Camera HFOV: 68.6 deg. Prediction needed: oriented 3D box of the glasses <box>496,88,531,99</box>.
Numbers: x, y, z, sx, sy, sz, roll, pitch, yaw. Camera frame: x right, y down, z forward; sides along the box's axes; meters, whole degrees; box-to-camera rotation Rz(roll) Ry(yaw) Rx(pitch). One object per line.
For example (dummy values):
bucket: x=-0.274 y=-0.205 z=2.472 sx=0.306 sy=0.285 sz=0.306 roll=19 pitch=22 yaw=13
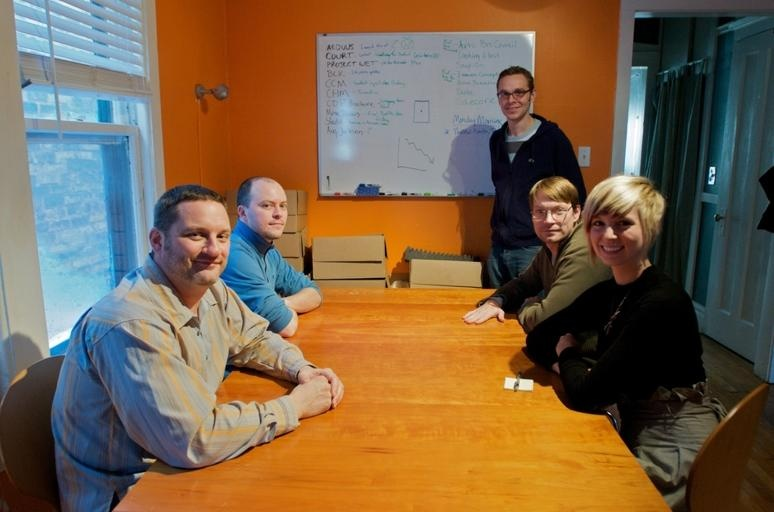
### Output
glasses: x=0.949 y=-1.197 z=4.202 sx=0.252 sy=0.086 sz=0.111 roll=0 pitch=13 yaw=8

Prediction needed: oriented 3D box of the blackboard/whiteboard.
blackboard/whiteboard: x=0.329 y=-1.191 z=4.796 sx=1.808 sy=1.371 sz=0.039 roll=-2 pitch=6 yaw=-5

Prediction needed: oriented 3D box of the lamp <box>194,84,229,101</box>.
lamp: x=-1.331 y=-1.269 z=4.394 sx=0.227 sy=0.113 sz=0.326 roll=-2 pitch=13 yaw=-1
